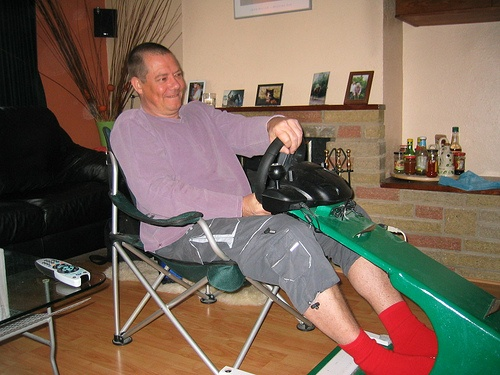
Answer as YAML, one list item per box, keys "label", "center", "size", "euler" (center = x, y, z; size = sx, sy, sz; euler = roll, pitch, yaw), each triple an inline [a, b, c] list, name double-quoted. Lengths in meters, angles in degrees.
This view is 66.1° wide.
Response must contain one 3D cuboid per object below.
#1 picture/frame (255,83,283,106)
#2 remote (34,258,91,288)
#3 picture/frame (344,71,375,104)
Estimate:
- label: "picture/frame"
  center: [0.166, -0.786, 3.241]
  size: [0.209, 0.175, 0.016]
  euler: [6, -1, 27]
- label: "remote"
  center: [-0.713, 0.302, 1.457]
  size: [0.260, 0.055, 0.093]
  euler: [13, 22, 34]
- label: "picture/frame"
  center: [0.825, -0.743, 2.864]
  size: [0.261, 0.349, 0.025]
  euler: [8, -10, 29]
